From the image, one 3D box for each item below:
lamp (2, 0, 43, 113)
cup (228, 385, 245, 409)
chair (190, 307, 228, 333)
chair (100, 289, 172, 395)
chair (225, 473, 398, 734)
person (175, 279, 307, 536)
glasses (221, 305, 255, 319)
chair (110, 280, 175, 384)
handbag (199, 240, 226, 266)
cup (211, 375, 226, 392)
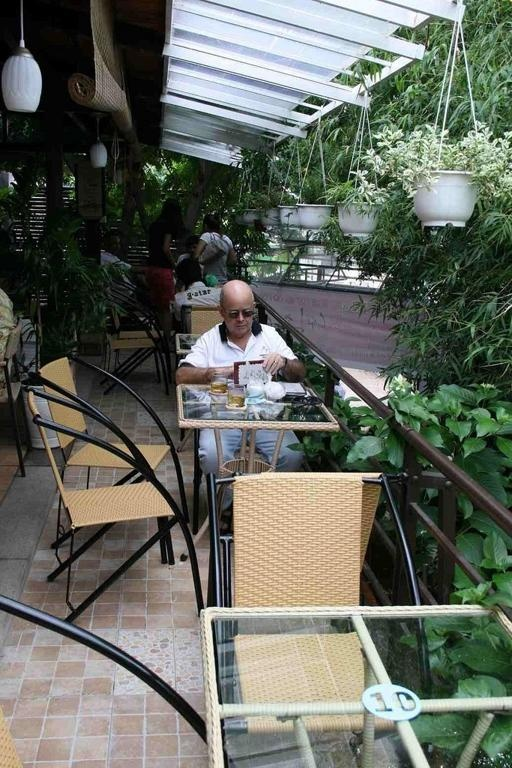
[{"bbox_3d":[-1.250,-1.631,2.844,0.183,0.284,0.348,-2,1,-14],"label":"lamp"},{"bbox_3d":[-0.099,0.065,2.623,0.097,0.106,0.094,0,9,0],"label":"cup"},{"bbox_3d":[-0.457,-0.612,5.314,0.436,0.375,0.232,1,15,-5],"label":"chair"},{"bbox_3d":[-1.594,-0.524,7.193,0.986,1.537,1.090,-1,27,-9],"label":"chair"},{"bbox_3d":[0.103,0.488,1.286,0.318,0.543,0.396,0,13,-2],"label":"chair"},{"bbox_3d":[-0.049,0.130,3.308,0.730,1.409,0.785,-11,17,-27],"label":"person"},{"bbox_3d":[-0.104,-0.406,3.197,0.193,0.049,0.174,-2,0,-5],"label":"glasses"},{"bbox_3d":[-1.571,-0.690,7.528,1.093,1.636,1.101,-2,32,-11],"label":"chair"},{"bbox_3d":[-0.655,-1.923,8.179,0.392,0.226,0.293,-2,1,-6],"label":"handbag"},{"bbox_3d":[-0.194,0.005,2.862,0.080,0.085,0.083,1,2,0],"label":"cup"}]
